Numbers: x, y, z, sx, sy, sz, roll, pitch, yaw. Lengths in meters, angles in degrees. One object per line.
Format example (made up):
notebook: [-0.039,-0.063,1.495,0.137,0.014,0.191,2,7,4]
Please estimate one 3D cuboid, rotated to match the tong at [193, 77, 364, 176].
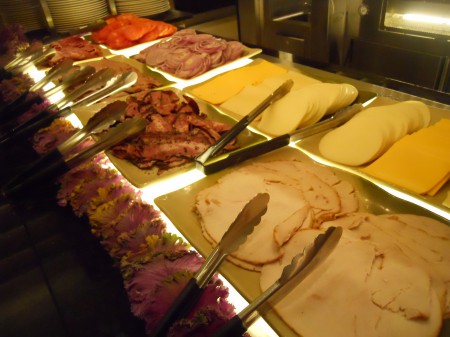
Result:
tong: [0.170,-0.176,1.155,0.639,0.059,0.268,-22,48,-14]
